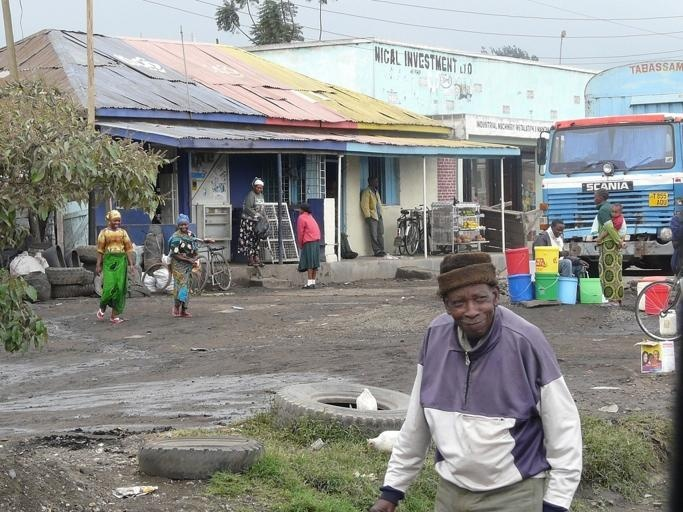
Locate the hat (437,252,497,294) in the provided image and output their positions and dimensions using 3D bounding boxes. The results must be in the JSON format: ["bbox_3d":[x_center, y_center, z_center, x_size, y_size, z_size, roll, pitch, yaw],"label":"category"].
[{"bbox_3d":[0.855,0.104,6.617,0.300,0.232,0.311,-4,2,-22],"label":"hat"}]

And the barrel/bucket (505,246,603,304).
[{"bbox_3d":[3.678,0.355,17.032,1.418,0.926,0.972,0,3,16],"label":"barrel/bucket"}]

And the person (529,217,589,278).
[{"bbox_3d":[4.023,-0.149,18.113,1.083,1.716,0.993,0,3,18],"label":"person"}]

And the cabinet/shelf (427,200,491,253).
[{"bbox_3d":[3.724,-0.810,26.798,0.924,1.314,1.207,-3,1,-38],"label":"cabinet/shelf"}]

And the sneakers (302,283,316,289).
[{"bbox_3d":[-0.725,0.673,21.162,0.239,0.117,0.109,5,5,34],"label":"sneakers"}]

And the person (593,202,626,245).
[{"bbox_3d":[4.829,-0.564,17.525,0.315,0.847,0.289,20,-31,23],"label":"person"}]

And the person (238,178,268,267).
[{"bbox_3d":[-1.997,-0.726,21.782,0.612,1.921,0.384,-1,0,-7],"label":"person"}]

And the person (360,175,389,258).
[{"bbox_3d":[0.865,-1.059,26.064,0.550,2.013,1.066,-1,0,-21],"label":"person"}]

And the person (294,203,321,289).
[{"bbox_3d":[-0.701,-0.209,20.777,0.445,1.740,0.781,-1,0,-3],"label":"person"}]

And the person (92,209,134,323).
[{"bbox_3d":[-3.784,0.180,16.181,0.538,1.884,0.720,-1,0,-22],"label":"person"}]

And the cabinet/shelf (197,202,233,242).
[{"bbox_3d":[-2.954,-0.774,22.314,0.284,0.913,0.880,-3,-6,41],"label":"cabinet/shelf"}]

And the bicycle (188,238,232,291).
[{"bbox_3d":[-2.774,0.302,20.486,0.562,0.785,1.154,-11,-6,21],"label":"bicycle"}]

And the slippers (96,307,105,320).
[{"bbox_3d":[-4.038,0.977,16.291,0.100,0.127,0.283,14,9,-14],"label":"slippers"}]

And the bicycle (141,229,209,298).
[{"bbox_3d":[-3.221,0.183,19.800,1.817,1.267,0.962,0,-3,-1],"label":"bicycle"}]

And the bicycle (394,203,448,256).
[{"bbox_3d":[1.972,-0.674,27.071,0.836,1.247,1.902,-1,-2,32],"label":"bicycle"}]

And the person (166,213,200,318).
[{"bbox_3d":[-2.720,0.169,16.714,0.471,1.729,0.766,-1,0,-9],"label":"person"}]
